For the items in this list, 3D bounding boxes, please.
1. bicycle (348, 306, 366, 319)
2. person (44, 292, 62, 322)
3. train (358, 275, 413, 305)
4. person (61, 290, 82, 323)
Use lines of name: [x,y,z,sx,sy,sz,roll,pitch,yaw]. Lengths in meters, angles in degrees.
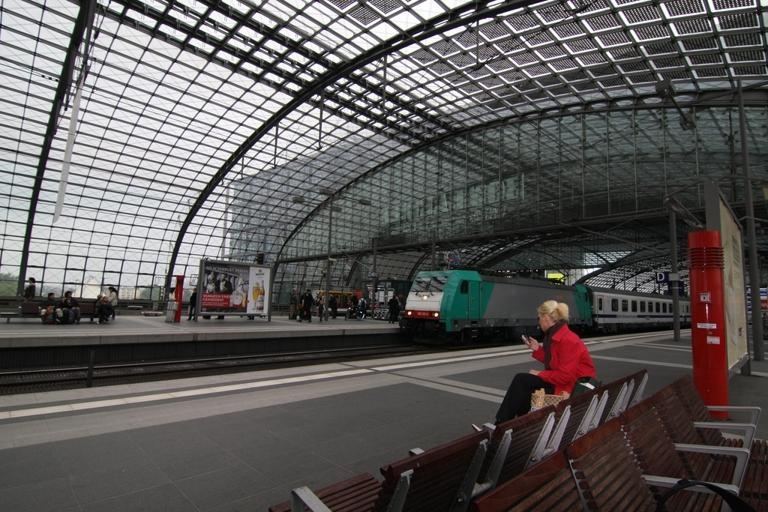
bicycle: [-2.158,4.369,34.824,1.397,0.785,1.382,0,0,-6]
person: [-15.009,2.288,20.597,0.575,1.370,1.425,0,1,-35]
train: [-0.032,2.877,38.725,3.959,2.024,1.959,2,2,22]
person: [-14.478,2.350,21.108,0.711,1.558,1.292,0,1,-32]
